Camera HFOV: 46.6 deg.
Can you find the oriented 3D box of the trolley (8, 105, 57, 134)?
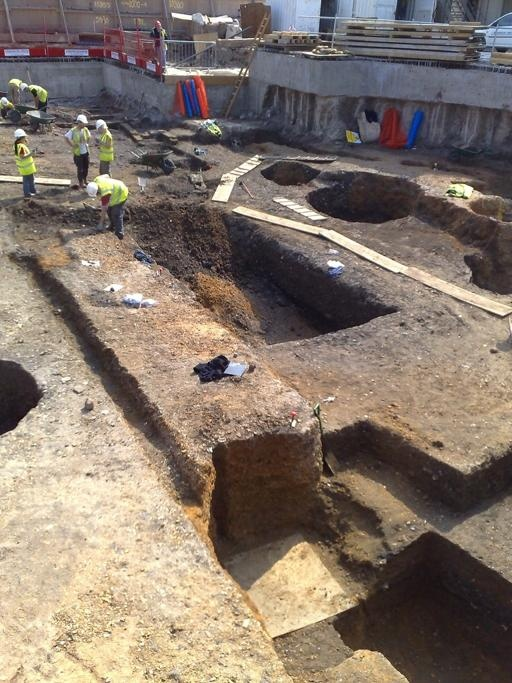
[{"bbox_3d":[-5.887,-5.811,15.564,0.929,0.631,1.470,-22,34,-40],"label":"trolley"}]

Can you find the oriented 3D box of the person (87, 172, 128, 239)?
[{"bbox_3d":[-2.386,-2.146,9.672,0.541,1.064,1.268,-4,26,-10],"label":"person"}]

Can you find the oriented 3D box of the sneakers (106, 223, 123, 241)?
[{"bbox_3d":[-2.385,-1.832,9.997,0.155,0.137,0.442,-48,49,-4],"label":"sneakers"}]

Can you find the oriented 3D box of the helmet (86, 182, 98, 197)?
[{"bbox_3d":[-2.516,-2.313,9.119,0.148,0.209,0.501,-6,26,-14],"label":"helmet"}]

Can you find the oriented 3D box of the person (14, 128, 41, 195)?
[{"bbox_3d":[-4.078,-3.134,10.447,0.272,1.149,0.884,-9,28,-18],"label":"person"}]

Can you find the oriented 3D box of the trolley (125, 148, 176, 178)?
[{"bbox_3d":[-2.329,-4.030,13.454,0.750,0.503,1.160,-16,34,-20],"label":"trolley"}]
